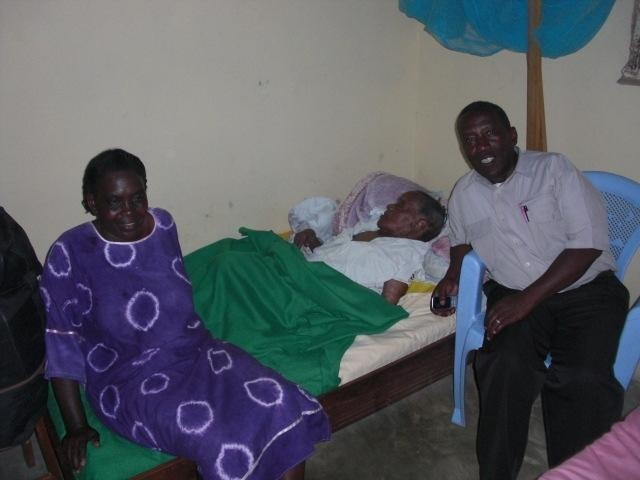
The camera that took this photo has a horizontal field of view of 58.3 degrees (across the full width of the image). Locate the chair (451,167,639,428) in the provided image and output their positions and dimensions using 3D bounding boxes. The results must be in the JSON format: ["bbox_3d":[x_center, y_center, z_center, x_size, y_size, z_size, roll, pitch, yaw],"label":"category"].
[{"bbox_3d":[1.014,0.254,2.564,0.760,1.088,0.744,-17,26,-38],"label":"chair"}]

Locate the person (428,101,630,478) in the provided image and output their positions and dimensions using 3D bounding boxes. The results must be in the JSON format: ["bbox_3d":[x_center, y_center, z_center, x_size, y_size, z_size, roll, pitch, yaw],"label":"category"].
[{"bbox_3d":[0.954,0.138,2.588,0.811,1.511,0.843,-8,14,-3],"label":"person"}]

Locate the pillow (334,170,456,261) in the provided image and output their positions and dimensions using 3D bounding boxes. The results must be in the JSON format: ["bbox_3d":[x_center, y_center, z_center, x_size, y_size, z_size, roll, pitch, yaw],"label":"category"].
[{"bbox_3d":[0.447,-0.106,3.555,0.602,0.234,0.491,35,65,26],"label":"pillow"}]
